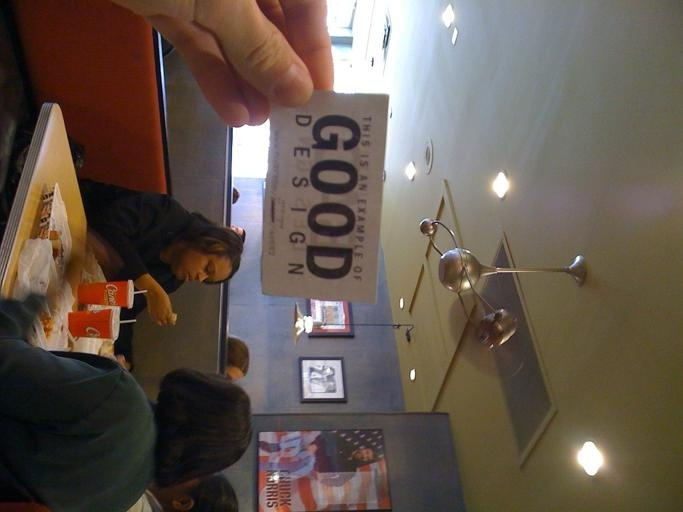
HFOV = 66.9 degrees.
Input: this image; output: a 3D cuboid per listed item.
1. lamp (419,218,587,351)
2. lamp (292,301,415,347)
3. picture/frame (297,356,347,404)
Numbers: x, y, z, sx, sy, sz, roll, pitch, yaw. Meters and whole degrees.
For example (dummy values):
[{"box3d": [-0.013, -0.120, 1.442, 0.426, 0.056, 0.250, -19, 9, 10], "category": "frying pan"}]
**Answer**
[{"box3d": [1.029, 0.131, 3.266, 0.882, 0.410, 0.941, -7, 3, 23], "category": "lamp"}, {"box3d": [0.068, 0.727, 5.407, 1.012, 0.346, 0.515, 1, 5, -1], "category": "lamp"}, {"box3d": [-0.204, 1.266, 5.198, 0.412, 0.477, 0.035, 3, -34, -15], "category": "picture/frame"}]
